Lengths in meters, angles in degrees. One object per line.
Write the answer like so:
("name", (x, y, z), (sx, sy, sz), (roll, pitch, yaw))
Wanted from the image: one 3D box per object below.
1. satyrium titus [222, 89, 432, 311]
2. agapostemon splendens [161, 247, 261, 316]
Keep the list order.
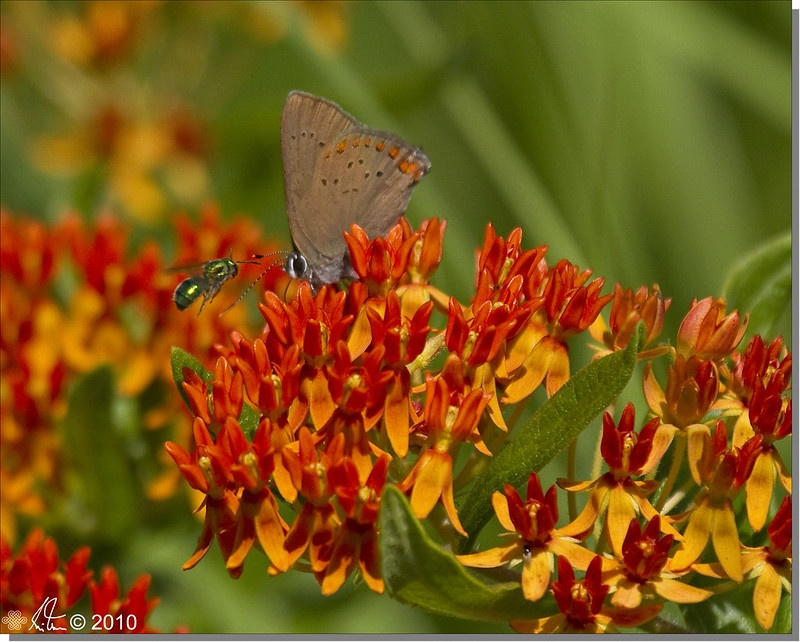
("satyrium titus", (-0.166, -0.240, 2.392), (0.341, 0.648, 0.403), (0, 20, 36))
("agapostemon splendens", (-0.490, -0.101, 2.350), (0.154, 0.053, 0.121), (-27, 80, -37))
